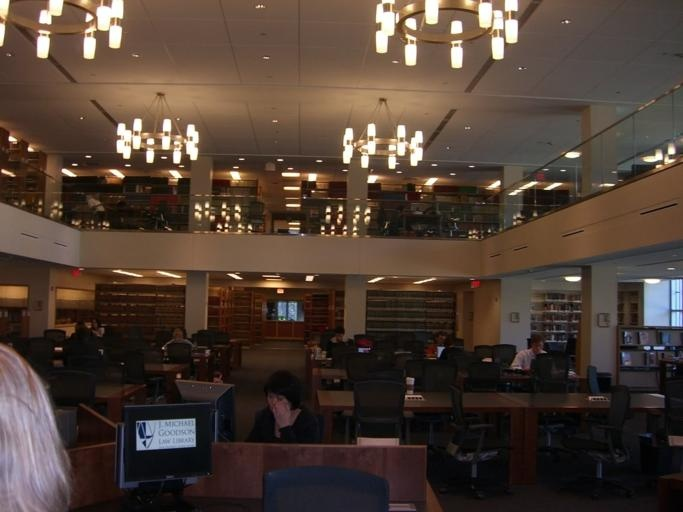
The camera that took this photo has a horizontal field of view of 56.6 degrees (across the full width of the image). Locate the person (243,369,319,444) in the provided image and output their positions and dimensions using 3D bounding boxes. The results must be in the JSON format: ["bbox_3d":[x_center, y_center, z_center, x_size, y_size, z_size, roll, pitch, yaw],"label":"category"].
[{"bbox_3d":[-0.555,1.468,5.953,0.755,0.704,0.478,0,-3,41],"label":"person"}]

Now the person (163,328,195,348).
[{"bbox_3d":[-3.622,1.817,13.995,0.467,0.751,0.477,1,-14,-7],"label":"person"}]

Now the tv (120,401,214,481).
[{"bbox_3d":[-1.278,1.350,4.581,0.595,0.463,0.188,1,-8,-13],"label":"tv"}]

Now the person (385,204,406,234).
[{"bbox_3d":[1.351,-0.940,16.020,0.276,0.552,0.743,2,-2,0],"label":"person"}]

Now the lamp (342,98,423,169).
[{"bbox_3d":[0.829,-2.351,12.681,1.689,1.400,1.631,0,-4,-3],"label":"lamp"}]
